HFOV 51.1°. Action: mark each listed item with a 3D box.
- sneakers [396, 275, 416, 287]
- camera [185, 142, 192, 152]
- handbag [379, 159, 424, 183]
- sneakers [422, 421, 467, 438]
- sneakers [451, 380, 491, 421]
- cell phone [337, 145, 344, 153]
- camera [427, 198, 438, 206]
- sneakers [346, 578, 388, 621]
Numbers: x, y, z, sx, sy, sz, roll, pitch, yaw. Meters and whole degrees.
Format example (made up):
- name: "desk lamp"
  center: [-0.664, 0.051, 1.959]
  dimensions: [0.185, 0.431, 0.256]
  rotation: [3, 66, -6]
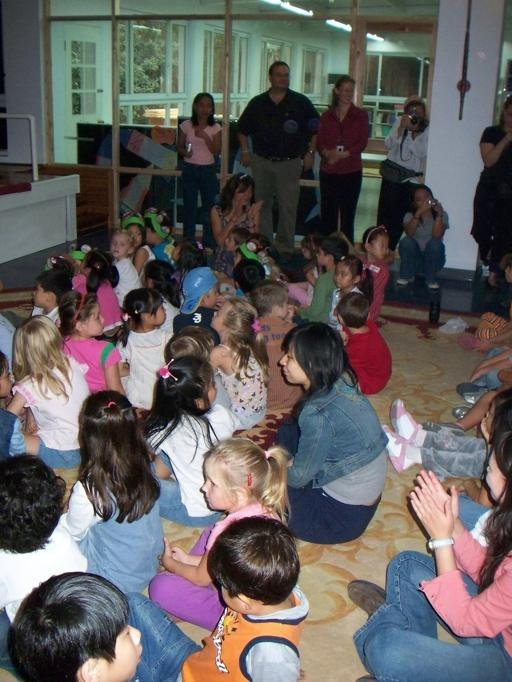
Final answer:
- name: "sneakers"
  center: [1.477, -0.581, 5.231]
  dimensions: [0.163, 0.049, 0.096]
  rotation: [-11, 35, -16]
- name: "camera"
  center: [-0.774, -2.216, 6.132]
  dimensions: [0.084, 0.099, 0.026]
  rotation: [2, 1, 18]
- name: "handbag"
  center: [1.511, -1.747, 5.536]
  dimensions: [0.363, 0.131, 0.242]
  rotation: [13, 25, 0]
- name: "sneakers"
  center: [0.864, 0.407, 2.446]
  dimensions: [0.140, 0.050, 0.045]
  rotation: [15, 10, -4]
- name: "sneakers"
  center: [1.108, 0.312, 2.750]
  dimensions: [0.232, 0.075, 0.092]
  rotation: [-37, -19, 22]
- name: "cell phone"
  center: [0.830, -1.893, 5.270]
  dimensions: [0.069, 0.051, 0.072]
  rotation: [0, 5, -2]
- name: "camera"
  center: [1.673, -1.306, 5.054]
  dimensions: [0.070, 0.060, 0.017]
  rotation: [-8, -10, -8]
- name: "sneakers"
  center: [0.338, 0.779, 1.640]
  dimensions: [0.094, 0.046, 0.119]
  rotation: [-8, 15, -41]
